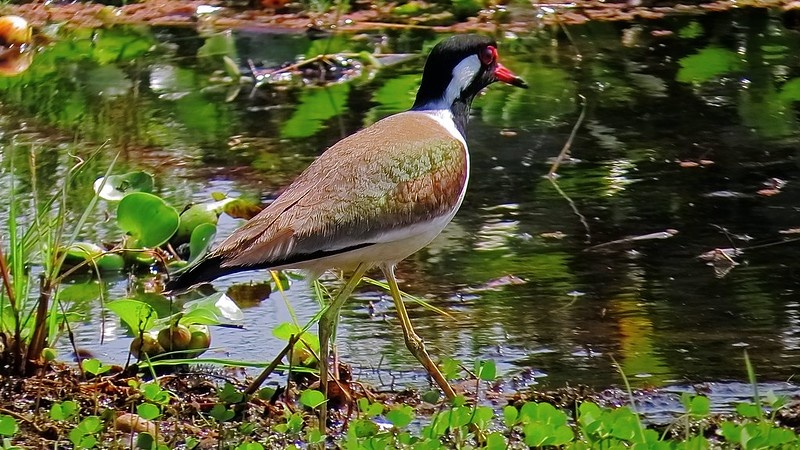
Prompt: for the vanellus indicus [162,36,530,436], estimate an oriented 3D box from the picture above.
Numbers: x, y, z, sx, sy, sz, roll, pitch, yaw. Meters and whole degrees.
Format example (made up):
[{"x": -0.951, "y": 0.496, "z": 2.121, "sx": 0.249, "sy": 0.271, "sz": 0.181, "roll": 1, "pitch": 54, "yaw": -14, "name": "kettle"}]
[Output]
[{"x": -0.183, "y": -0.110, "z": 4.986, "sx": 1.679, "sy": 2.133, "sz": 0.597, "roll": 5, "pitch": -7, "yaw": -34, "name": "vanellus indicus"}]
